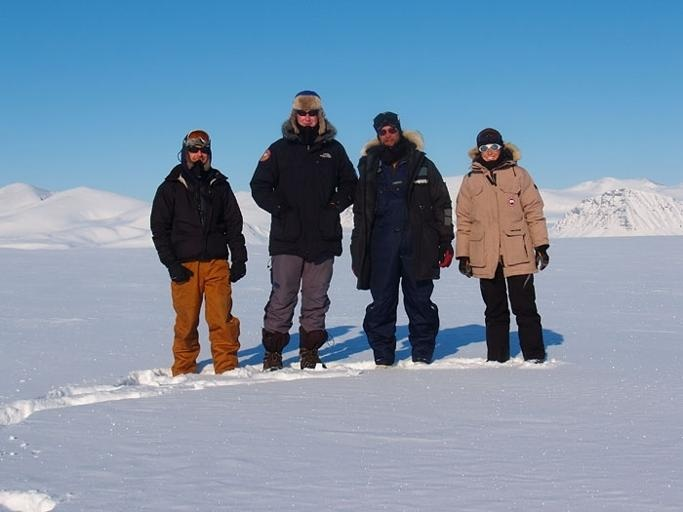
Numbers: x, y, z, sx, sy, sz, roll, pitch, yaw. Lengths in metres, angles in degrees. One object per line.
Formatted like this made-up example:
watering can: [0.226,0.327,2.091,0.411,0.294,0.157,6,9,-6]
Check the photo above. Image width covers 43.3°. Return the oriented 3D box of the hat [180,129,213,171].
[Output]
hat: [-1.257,-0.932,7.524,0.237,0.332,0.137,-2,5,-16]

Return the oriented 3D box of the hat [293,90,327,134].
hat: [-0.311,-1.371,7.881,0.444,0.331,0.418,-2,17,-1]

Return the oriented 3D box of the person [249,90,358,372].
person: [-0.320,-0.229,7.820,0.950,2.514,0.518,-2,5,-7]

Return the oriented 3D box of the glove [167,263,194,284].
glove: [-1.419,0.141,7.542,0.213,0.184,0.136,1,6,20]

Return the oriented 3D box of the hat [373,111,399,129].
hat: [0.401,-1.216,7.676,0.216,0.161,0.346,-1,5,2]

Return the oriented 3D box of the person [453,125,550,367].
person: [1.463,-0.108,7.937,0.824,2.125,0.368,0,5,7]

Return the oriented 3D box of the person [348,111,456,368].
person: [0.541,-0.147,7.848,0.942,2.326,0.472,0,5,5]

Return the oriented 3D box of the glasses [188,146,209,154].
glasses: [-1.225,-0.934,7.495,0.092,0.048,0.101,-2,0,-26]

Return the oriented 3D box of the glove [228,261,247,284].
glove: [-0.914,0.142,7.716,0.148,0.180,0.067,11,-4,13]

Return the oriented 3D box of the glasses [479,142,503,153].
glasses: [1.338,-0.994,7.852,0.179,0.083,0.084,0,5,9]

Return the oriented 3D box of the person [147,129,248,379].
person: [-1.240,-0.032,7.606,0.816,2.138,0.493,-2,5,-11]

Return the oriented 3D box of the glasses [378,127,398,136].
glasses: [0.410,-1.142,7.774,0.106,0.031,0.101,-6,-16,9]

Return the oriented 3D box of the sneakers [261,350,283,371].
sneakers: [-0.616,0.941,7.764,0.138,0.148,0.355,1,-11,-11]

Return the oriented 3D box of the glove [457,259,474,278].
glove: [1.138,0.098,8.030,0.184,0.160,0.138,15,30,35]

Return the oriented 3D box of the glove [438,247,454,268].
glove: [0.961,0.016,7.837,0.062,0.171,0.134,35,13,35]
